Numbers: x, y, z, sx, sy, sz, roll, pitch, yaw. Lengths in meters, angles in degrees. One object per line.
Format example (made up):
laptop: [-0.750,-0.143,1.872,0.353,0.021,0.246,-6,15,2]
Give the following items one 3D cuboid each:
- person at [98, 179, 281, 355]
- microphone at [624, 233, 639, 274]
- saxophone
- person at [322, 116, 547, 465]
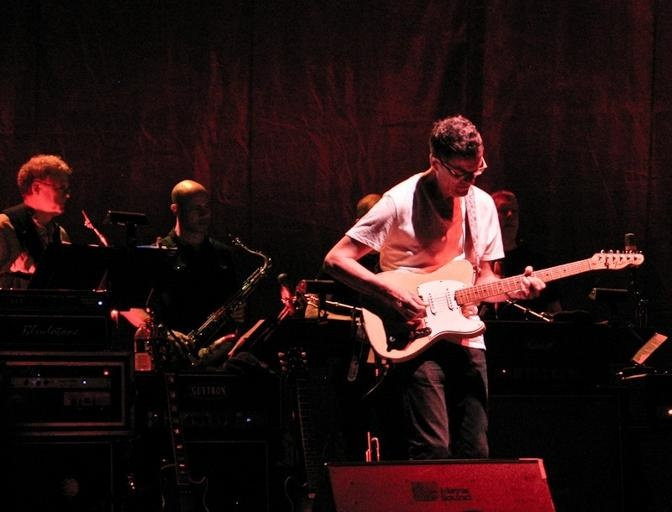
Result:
person: [-0.966,0.044,5.151,1.039,1.334,0.843,1,-2,-15]
microphone: [1.960,-0.012,4.617,0.098,0.100,0.339,1,39,11]
saxophone: [-0.930,0.366,5.452,0.602,0.981,0.575,3,12,-42]
person: [0.502,0.115,4.059,1.090,2.122,0.955,-1,3,-18]
